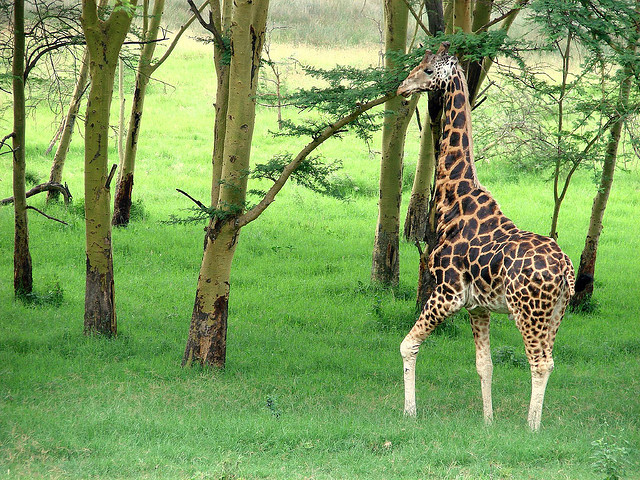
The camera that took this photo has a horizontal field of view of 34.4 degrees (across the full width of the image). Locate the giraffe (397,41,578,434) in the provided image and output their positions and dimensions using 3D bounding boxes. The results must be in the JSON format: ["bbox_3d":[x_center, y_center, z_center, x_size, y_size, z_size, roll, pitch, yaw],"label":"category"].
[{"bbox_3d":[3.271,-0.169,21.257,3.801,7.339,1.897,16,19,43],"label":"giraffe"}]
